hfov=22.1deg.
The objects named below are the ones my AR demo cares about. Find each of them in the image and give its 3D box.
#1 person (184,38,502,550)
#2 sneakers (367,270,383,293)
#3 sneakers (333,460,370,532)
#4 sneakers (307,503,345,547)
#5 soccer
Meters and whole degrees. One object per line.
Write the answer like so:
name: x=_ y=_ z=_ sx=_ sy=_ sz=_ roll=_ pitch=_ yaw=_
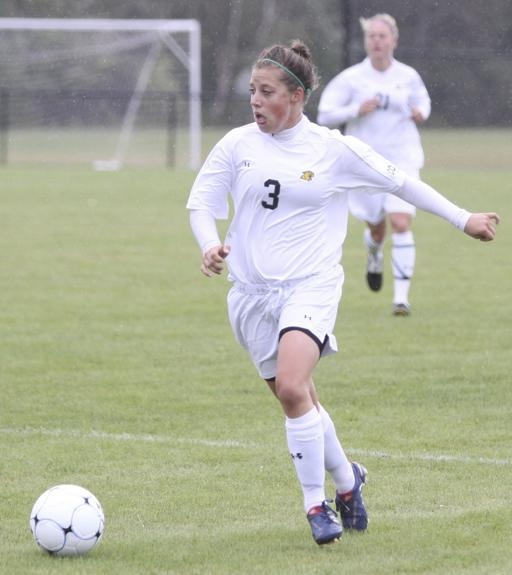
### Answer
person: x=0.190 y=-0.039 z=5.157 sx=0.899 sy=1.787 sz=0.798 roll=11 pitch=16 yaw=36
sneakers: x=0.829 y=-0.042 z=9.094 sx=0.081 sy=0.158 sz=0.056 roll=-1 pitch=18 yaw=5
sneakers: x=0.361 y=0.797 z=5.085 sx=0.092 sy=0.279 sz=0.124 roll=-8 pitch=-2 yaw=24
sneakers: x=0.255 y=0.868 z=4.823 sx=0.108 sy=0.121 sz=0.140 roll=-1 pitch=14 yaw=-11
soccer: x=-0.695 y=0.854 z=4.828 sx=0.271 sy=0.202 sz=0.212 roll=-1 pitch=13 yaw=-9
